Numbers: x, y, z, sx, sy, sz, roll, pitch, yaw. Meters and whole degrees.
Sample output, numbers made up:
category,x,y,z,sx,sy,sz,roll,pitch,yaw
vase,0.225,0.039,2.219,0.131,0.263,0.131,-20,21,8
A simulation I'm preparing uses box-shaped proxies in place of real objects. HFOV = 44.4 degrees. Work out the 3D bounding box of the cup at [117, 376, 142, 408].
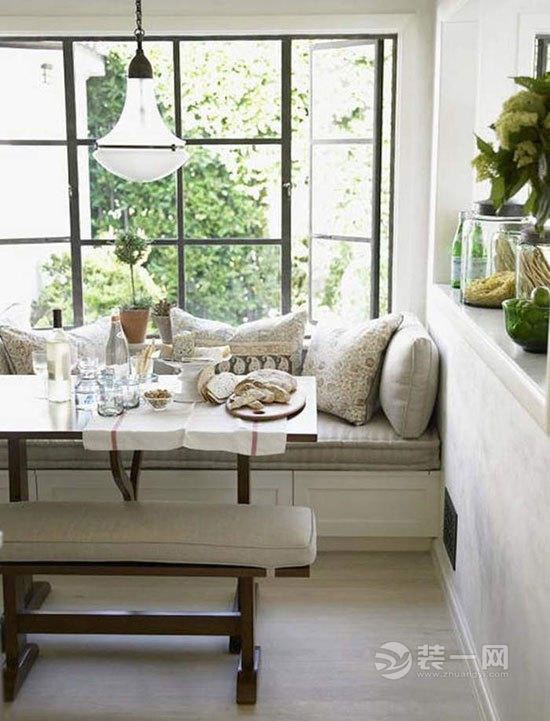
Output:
category,x,y,z,sx,sy,sz,roll,pitch,yaw
cup,-0.440,0.099,2.074,0.078,0.142,0.076,1,13,0

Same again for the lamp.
category,x,y,z,sx,sy,sz,roll,pitch,yaw
lamp,-0.377,-0.733,1.969,0.237,0.404,0.213,3,8,16

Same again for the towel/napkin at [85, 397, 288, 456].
category,x,y,z,sx,sy,sz,roll,pitch,yaw
towel/napkin,-0.243,0.199,1.955,0.549,0.080,0.335,0,8,0

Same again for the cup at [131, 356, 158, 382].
category,x,y,z,sx,sy,sz,roll,pitch,yaw
cup,-0.452,0.023,2.305,0.087,0.104,0.089,2,15,0

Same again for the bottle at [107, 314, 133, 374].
category,x,y,z,sx,sy,sz,roll,pitch,yaw
bottle,-0.495,-0.054,2.142,0.073,0.194,0.287,-2,8,-13

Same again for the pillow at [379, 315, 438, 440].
category,x,y,z,sx,sy,sz,roll,pitch,yaw
pillow,0.581,0.088,2.907,0.223,0.461,0.362,0,8,-4

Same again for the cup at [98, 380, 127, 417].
category,x,y,z,sx,sy,sz,roll,pitch,yaw
cup,-0.478,0.117,1.983,0.088,0.148,0.087,0,0,0

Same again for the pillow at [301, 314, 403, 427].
category,x,y,z,sx,sy,sz,roll,pitch,yaw
pillow,0.266,0.002,3.223,0.210,0.404,0.480,-13,5,-3

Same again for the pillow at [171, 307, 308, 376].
category,x,y,z,sx,sy,sz,roll,pitch,yaw
pillow,-0.182,-0.095,3.447,0.671,0.320,0.329,1,8,2

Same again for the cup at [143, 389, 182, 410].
category,x,y,z,sx,sy,sz,roll,pitch,yaw
cup,-0.352,0.117,2.058,0.062,0.037,0.063,2,0,0
